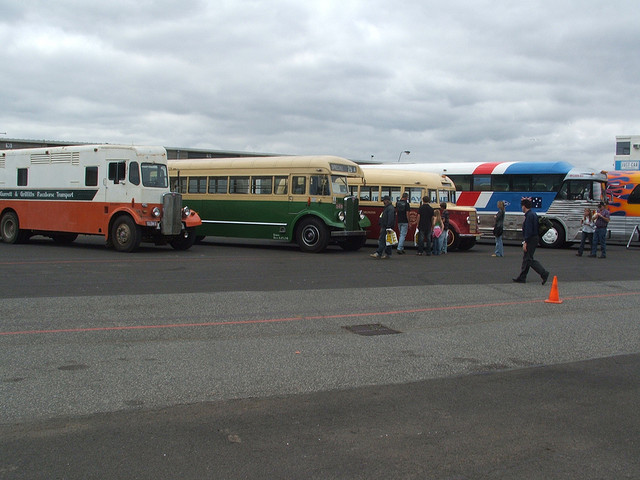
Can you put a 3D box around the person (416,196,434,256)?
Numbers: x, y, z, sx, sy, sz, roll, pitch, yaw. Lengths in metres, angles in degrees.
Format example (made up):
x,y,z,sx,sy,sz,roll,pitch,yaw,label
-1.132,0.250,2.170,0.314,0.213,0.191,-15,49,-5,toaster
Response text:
x,y,z,sx,sy,sz,roll,pitch,yaw,label
4.146,-0.554,20.658,0.610,2.221,0.521,1,4,7,person

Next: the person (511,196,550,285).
x,y,z,sx,sy,sz,roll,pitch,yaw,label
5.343,0.031,13.354,0.747,2.143,0.438,3,4,23,person

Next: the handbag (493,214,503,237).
x,y,z,sx,sy,sz,roll,pitch,yaw,label
6.910,-0.358,20.554,0.297,0.592,0.396,-1,2,-5,handbag

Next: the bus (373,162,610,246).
x,y,z,sx,sy,sz,roll,pitch,yaw,label
8.118,-2.127,28.805,13.092,4.003,3.524,2,3,21,bus

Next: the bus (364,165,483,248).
x,y,z,sx,sy,sz,roll,pitch,yaw,label
4.637,-1.539,24.001,5.022,2.697,3.115,1,2,22,bus

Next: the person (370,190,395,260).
x,y,z,sx,sy,sz,roll,pitch,yaw,label
2.323,-0.454,18.892,0.642,2.180,1.365,2,4,10,person

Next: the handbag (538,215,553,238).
x,y,z,sx,sy,sz,roll,pitch,yaw,label
5.645,-0.353,13.331,0.263,0.457,0.527,3,5,25,handbag

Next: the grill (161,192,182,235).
x,y,z,sx,sy,sz,roll,pitch,yaw,label
-5.317,-0.961,19.059,0.782,1.511,0.218,-2,5,-42,grill
